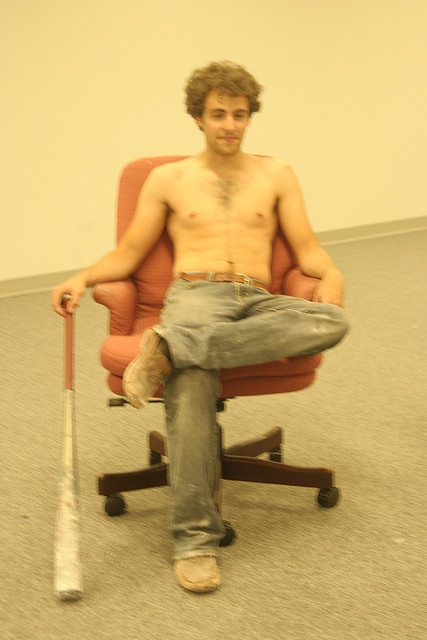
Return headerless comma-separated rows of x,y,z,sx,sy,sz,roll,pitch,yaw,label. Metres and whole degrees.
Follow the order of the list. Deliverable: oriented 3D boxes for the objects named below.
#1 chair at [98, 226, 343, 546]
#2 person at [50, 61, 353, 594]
-0.014,0.021,1.554,0.632,0.862,0.563,-4,10,-10,chair
-0.025,-0.067,1.478,0.694,1.105,0.732,11,18,43,person
